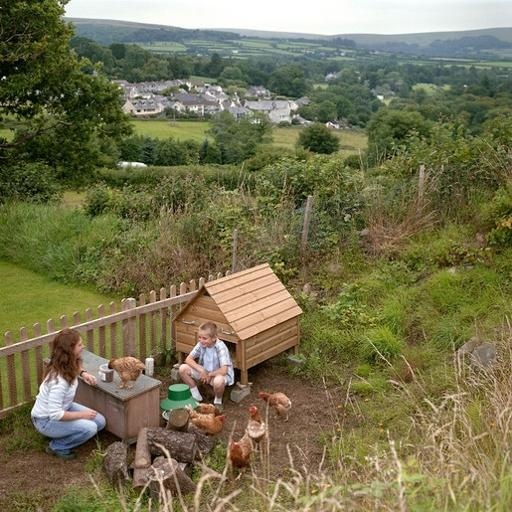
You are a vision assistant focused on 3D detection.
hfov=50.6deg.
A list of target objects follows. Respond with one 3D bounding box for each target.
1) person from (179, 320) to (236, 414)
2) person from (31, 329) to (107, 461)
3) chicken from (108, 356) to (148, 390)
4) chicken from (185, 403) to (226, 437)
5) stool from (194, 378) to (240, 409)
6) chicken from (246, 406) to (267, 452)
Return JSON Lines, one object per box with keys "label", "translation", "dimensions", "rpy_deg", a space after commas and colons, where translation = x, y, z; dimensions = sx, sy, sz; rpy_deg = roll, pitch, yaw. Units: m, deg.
{"label": "person", "translation": [-0.548, 1.271, 6.449], "dimensions": [0.427, 0.999, 0.649], "rpy_deg": [0, 1, 32]}
{"label": "person", "translation": [-1.860, 1.359, 5.464], "dimensions": [0.661, 1.245, 0.686], "rpy_deg": [11, 8, 41]}
{"label": "chicken", "translation": [-1.300, 1.153, 5.676], "dimensions": [0.370, 0.324, 0.366], "rpy_deg": [19, 17, 35]}
{"label": "chicken", "translation": [-0.535, 1.676, 5.641], "dimensions": [0.375, 0.421, 0.272], "rpy_deg": [-7, 20, -21]}
{"label": "stool", "translation": [-0.467, 1.620, 6.538], "dimensions": [0.415, 0.282, 0.515], "rpy_deg": [3, 12, 0]}
{"label": "chicken", "translation": [-0.002, 1.699, 5.387], "dimensions": [0.196, 0.447, 0.418], "rpy_deg": [-2, -5, 11]}
